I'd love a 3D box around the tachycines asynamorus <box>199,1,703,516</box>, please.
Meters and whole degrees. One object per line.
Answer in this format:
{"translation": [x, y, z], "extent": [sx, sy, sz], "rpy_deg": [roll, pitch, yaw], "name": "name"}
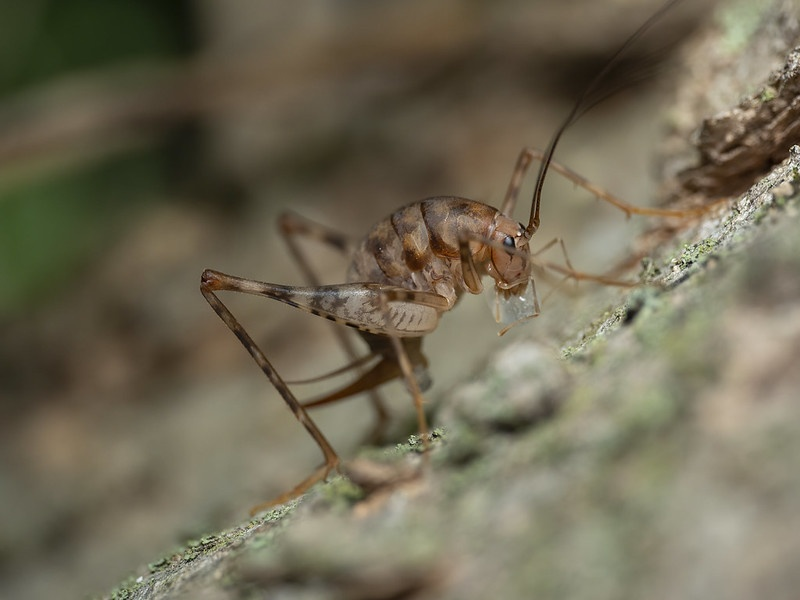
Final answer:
{"translation": [0.146, -0.048, 2.910], "extent": [1.404, 0.835, 1.124], "rpy_deg": [-24, 2, 29], "name": "tachycines asynamorus"}
